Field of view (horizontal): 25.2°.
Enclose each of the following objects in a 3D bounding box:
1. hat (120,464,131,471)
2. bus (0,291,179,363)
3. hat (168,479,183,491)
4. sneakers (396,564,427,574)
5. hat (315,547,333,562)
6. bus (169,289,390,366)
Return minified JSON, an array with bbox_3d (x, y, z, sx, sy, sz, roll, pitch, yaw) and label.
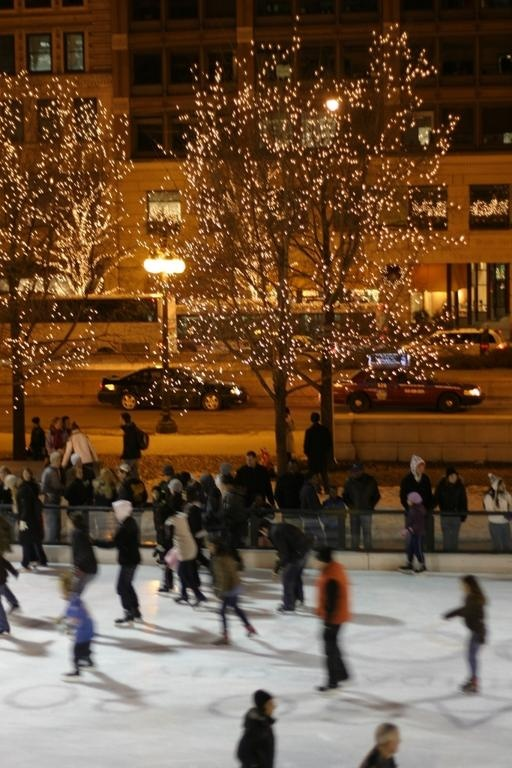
[{"bbox_3d":[-1.827,1.168,15.940,0.111,0.119,0.121,5,5,20],"label":"hat"},{"bbox_3d":[-4.952,-1.679,34.926,6.400,2.789,2.234,-1,5,-5],"label":"bus"},{"bbox_3d":[-1.019,1.256,14.382,0.125,0.164,0.167,-3,32,-31],"label":"hat"},{"bbox_3d":[2.158,2.523,15.750,0.377,0.203,0.138,3,-1,5],"label":"sneakers"},{"bbox_3d":[0.644,1.611,10.844,0.119,0.129,0.124,5,3,43],"label":"hat"},{"bbox_3d":[0.748,-1.429,29.141,6.786,2.130,2.167,-1,15,-1],"label":"bus"}]
